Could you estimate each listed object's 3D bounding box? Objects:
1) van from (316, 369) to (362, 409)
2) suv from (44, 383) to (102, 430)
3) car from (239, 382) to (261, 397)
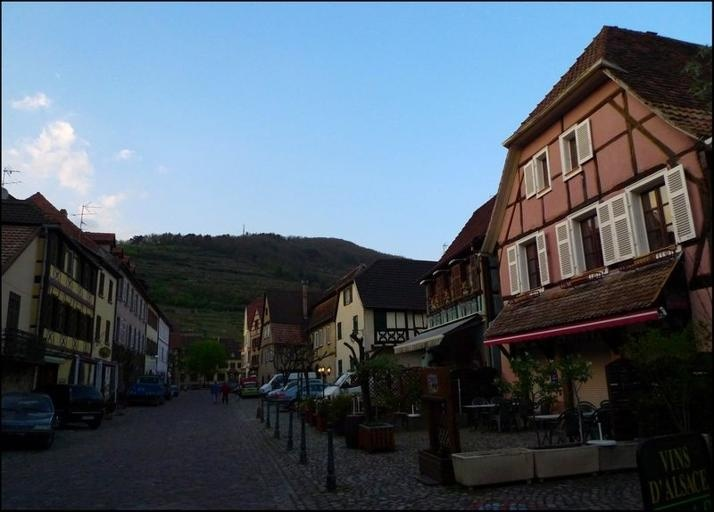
[{"bbox_3d":[-1.024,5.911,25.104,2.650,1.562,1.753,12,-22,-23],"label":"van"},{"bbox_3d":[-11.486,5.987,22.341,1.553,1.422,2.774,8,-8,-39],"label":"suv"},{"bbox_3d":[-10.208,12.603,52.641,1.496,1.691,2.321,7,-23,-15],"label":"car"}]
